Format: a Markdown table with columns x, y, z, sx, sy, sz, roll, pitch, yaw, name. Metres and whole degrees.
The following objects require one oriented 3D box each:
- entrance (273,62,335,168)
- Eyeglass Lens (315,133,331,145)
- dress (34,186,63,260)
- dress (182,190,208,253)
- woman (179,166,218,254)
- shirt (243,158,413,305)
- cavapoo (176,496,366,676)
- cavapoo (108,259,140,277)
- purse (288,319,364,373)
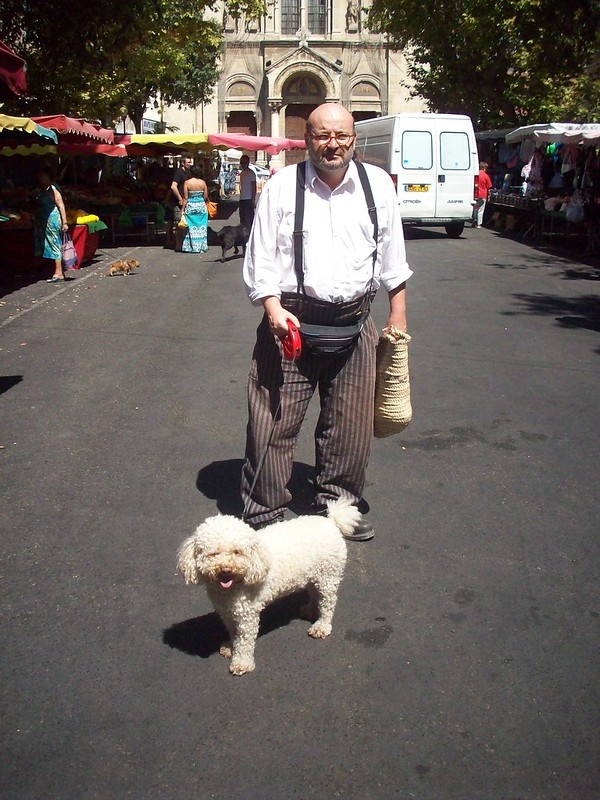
| x | y | z | sx | sy | sz | roll | pitch | yaw | name |
| --- | --- | --- | --- | --- | --- | --- | --- | --- | --- |
| 0.200 | -22.413 | 51.143 | 4.407 | 9.842 | 0.879 | 1 | -20 | 1 | entrance |
| 0.091 | -1.056 | 2.544 | 0.072 | 0.040 | 0.031 | 2 | 17 | 8 | Eyeglass Lens |
| -4.704 | -3.306 | 11.802 | 0.508 | 1.339 | 0.446 | -7 | 18 | -20 | dress |
| -2.570 | -4.617 | 15.582 | 0.615 | 1.861 | 0.520 | -4 | 8 | -33 | dress |
| -2.567 | -4.435 | 15.324 | 0.644 | 1.773 | 1.509 | -4 | 18 | -10 | woman |
| 0.116 | -0.760 | 2.818 | 0.796 | 0.646 | 0.365 | -6 | 33 | -12 | shirt |
| -0.098 | 0.562 | 2.495 | 0.888 | 0.731 | 0.400 | -7 | 15 | -32 | cavapoo |
| -3.504 | -2.639 | 12.539 | 0.542 | 0.291 | 0.784 | -3 | 18 | -9 | cavapoo |
| 0.100 | -0.247 | 2.754 | 0.233 | 0.100 | 0.211 | -7 | 31 | -8 | purse |
